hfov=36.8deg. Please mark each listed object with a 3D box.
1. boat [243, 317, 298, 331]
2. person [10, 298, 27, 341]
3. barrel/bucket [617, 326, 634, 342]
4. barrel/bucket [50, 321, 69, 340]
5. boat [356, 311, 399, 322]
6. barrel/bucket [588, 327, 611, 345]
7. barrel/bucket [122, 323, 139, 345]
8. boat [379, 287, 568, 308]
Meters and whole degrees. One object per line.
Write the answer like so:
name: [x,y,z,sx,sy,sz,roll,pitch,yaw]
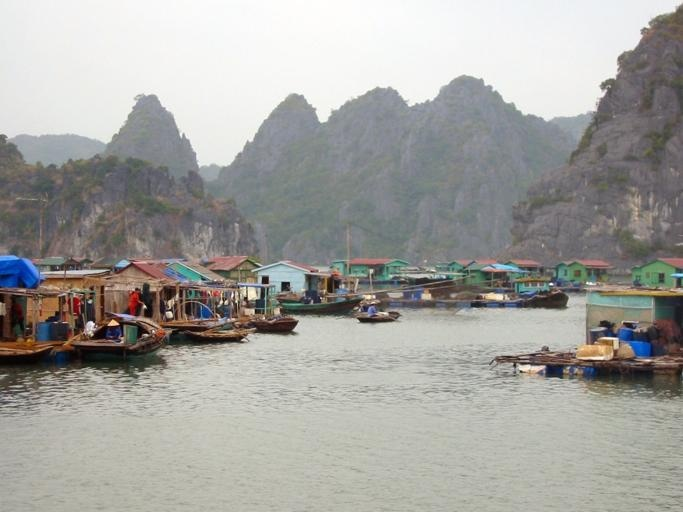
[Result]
boat: [-6.240,6.370,92.666,3.918,0.914,1.651,-5,-5,42]
person: [-24.058,4.765,76.884,0.921,2.965,1.450,0,-4,-17]
barrel/bucket: [20.161,5.647,72.679,0.979,0.684,0.939,8,3,0]
barrel/bucket: [-20.732,5.651,76.234,1.291,1.120,1.210,0,0,0]
boat: [4.014,6.219,102.772,4.362,0.963,2.126,3,-6,-44]
barrel/bucket: [18.602,5.782,73.732,1.364,1.107,1.046,-2,-4,18]
barrel/bucket: [-15.439,5.873,75.877,0.985,1.390,0.611,1,-4,-22]
boat: [16.697,5.466,126.204,21.790,2.633,8.899,-1,-4,9]
